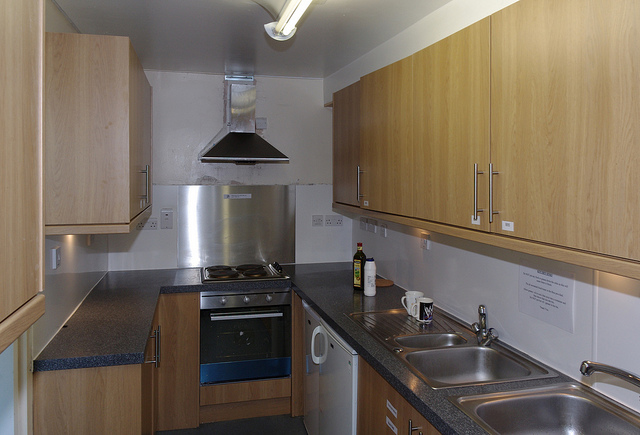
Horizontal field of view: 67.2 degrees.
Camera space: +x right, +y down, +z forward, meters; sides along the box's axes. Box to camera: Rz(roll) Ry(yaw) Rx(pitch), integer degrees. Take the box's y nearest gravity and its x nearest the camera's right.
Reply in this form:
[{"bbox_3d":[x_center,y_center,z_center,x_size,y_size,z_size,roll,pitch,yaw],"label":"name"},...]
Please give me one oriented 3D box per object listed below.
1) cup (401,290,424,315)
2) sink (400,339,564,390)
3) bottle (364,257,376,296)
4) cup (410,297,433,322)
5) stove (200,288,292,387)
[{"bbox_3d":[0.596,0.538,3.045,0.152,0.157,0.104,2,0,-15],"label":"cup"},{"bbox_3d":[0.762,0.767,2.346,0.682,0.181,0.397,-3,5,-15],"label":"sink"},{"bbox_3d":[0.353,0.422,3.385,0.069,0.262,0.053,-2,4,-11],"label":"bottle"},{"bbox_3d":[0.617,0.553,2.923,0.143,0.112,0.092,-1,2,-31],"label":"cup"},{"bbox_3d":[-0.612,0.908,3.918,0.712,0.709,0.487,-1,1,-14],"label":"stove"}]
